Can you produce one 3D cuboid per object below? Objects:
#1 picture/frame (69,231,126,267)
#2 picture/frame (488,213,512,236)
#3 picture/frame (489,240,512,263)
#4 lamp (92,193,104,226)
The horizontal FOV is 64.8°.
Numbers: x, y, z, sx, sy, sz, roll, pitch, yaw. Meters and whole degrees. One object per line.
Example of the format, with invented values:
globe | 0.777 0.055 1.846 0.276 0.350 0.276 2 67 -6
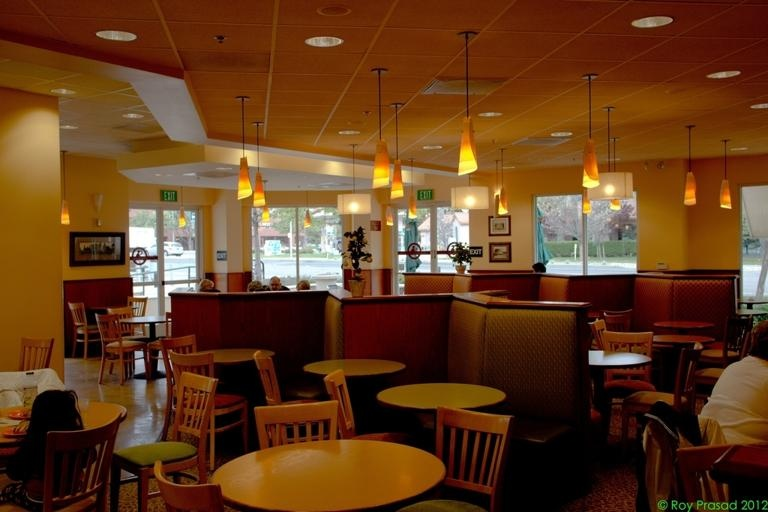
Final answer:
picture/frame | -6.420 -0.162 13.546 0.059 0.794 1.363 2 2 32
picture/frame | 3.072 -0.842 15.848 0.736 0.596 0.050 1 3 22
picture/frame | 3.100 -0.127 15.925 0.735 0.594 0.055 1 1 20
lamp | -6.372 -1.046 13.566 0.139 0.668 0.235 -2 0 41
